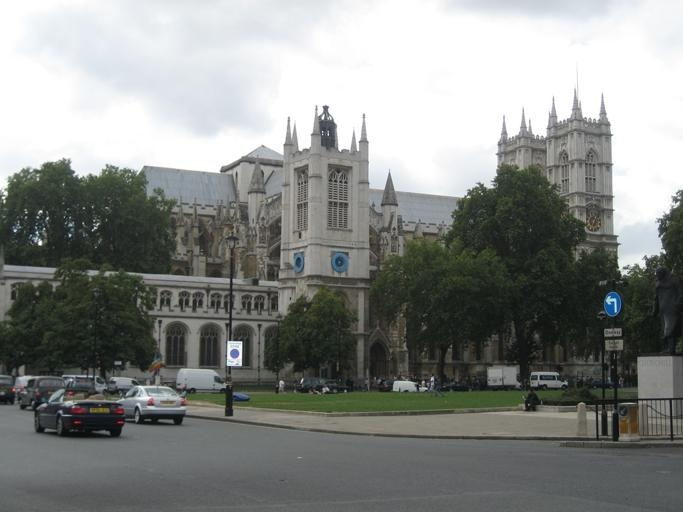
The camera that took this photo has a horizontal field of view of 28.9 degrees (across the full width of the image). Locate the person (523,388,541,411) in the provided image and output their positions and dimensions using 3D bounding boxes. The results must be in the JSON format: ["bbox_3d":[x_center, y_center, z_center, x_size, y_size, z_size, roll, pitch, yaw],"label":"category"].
[{"bbox_3d":[10.569,8.175,74.186,1.208,1.707,0.819,1,-12,9],"label":"person"}]

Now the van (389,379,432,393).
[{"bbox_3d":[4.816,10.069,101.207,2.222,0.976,1.241,-5,-4,18],"label":"van"}]

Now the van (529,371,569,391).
[{"bbox_3d":[17.088,10.525,108.335,3.366,1.746,1.911,-3,-1,-13],"label":"van"}]

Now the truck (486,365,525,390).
[{"bbox_3d":[13.106,9.924,108.328,2.790,1.918,1.714,1,-3,-11],"label":"truck"}]

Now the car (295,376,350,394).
[{"bbox_3d":[-1.705,9.811,100.661,2.811,1.285,1.584,-2,-3,0],"label":"car"}]

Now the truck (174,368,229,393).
[{"bbox_3d":[-11.174,9.628,102.315,4.659,2.161,1.847,0,0,-25],"label":"truck"}]
